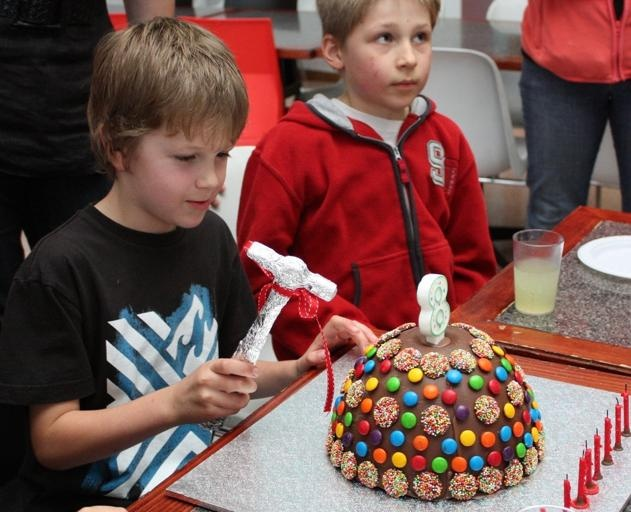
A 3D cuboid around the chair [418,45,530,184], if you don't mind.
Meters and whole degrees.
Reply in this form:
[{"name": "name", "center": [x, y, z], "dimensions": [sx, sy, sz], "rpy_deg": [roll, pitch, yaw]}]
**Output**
[{"name": "chair", "center": [0.727, -0.636, 2.537], "dimensions": [0.422, 0.676, 0.554], "rpy_deg": [5, 26, 24]}]
